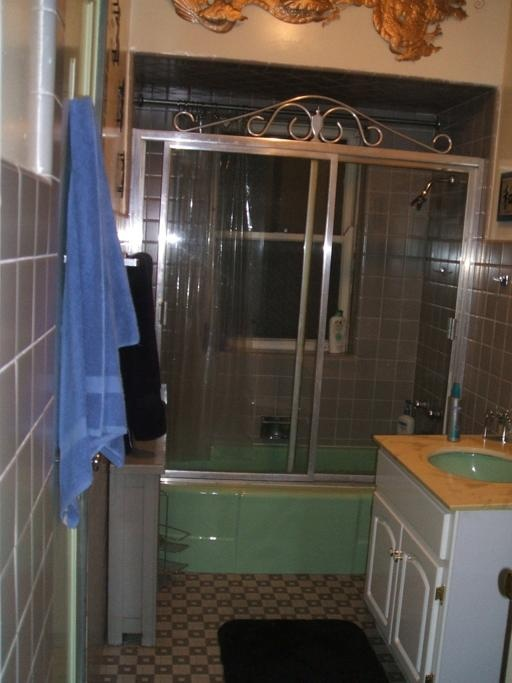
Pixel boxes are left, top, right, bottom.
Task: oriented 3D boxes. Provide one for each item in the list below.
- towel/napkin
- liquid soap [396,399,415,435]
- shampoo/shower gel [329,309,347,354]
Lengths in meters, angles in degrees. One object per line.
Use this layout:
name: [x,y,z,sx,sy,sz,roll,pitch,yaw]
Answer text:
towel/napkin: [-0.315,-0.046,1.148,0.122,0.798,0.288,3,6,4]
liquid soap: [0.807,0.409,3.125,0.063,0.188,0.122,-1,7,-27]
shampoo/shower gel: [0.418,-0.046,3.104,0.087,0.240,0.230,5,6,22]
